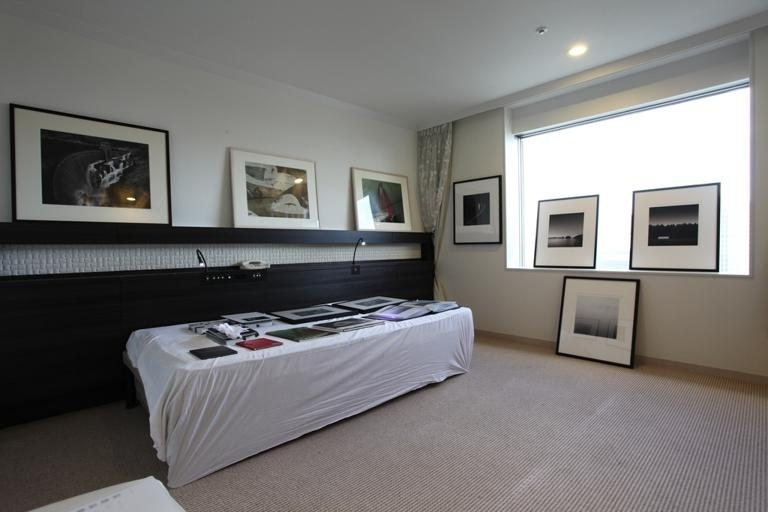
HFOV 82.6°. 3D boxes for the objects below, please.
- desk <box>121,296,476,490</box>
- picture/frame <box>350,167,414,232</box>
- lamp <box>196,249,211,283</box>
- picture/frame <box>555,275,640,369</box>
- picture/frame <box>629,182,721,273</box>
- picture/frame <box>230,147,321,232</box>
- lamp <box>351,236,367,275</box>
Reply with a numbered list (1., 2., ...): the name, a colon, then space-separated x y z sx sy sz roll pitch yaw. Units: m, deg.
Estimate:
1. desk: -0.586 1.115 3.810 2.575 0.863 0.506 -4 10 -29
2. picture/frame: -0.059 -0.776 5.993 1.001 0.747 0.035 1 -4 -42
3. lamp: -1.849 0.088 4.515 0.140 0.329 0.207 -4 10 -28
4. picture/frame: 2.481 0.774 4.987 1.014 1.279 0.092 -1 -16 39
5. picture/frame: 3.197 -0.298 4.738 0.994 1.157 0.039 -2 -5 37
6. picture/frame: -1.291 -0.755 5.021 1.066 0.820 0.040 1 -4 -38
7. lamp: -0.321 -0.015 5.578 0.200 0.479 0.473 0 9 -1
